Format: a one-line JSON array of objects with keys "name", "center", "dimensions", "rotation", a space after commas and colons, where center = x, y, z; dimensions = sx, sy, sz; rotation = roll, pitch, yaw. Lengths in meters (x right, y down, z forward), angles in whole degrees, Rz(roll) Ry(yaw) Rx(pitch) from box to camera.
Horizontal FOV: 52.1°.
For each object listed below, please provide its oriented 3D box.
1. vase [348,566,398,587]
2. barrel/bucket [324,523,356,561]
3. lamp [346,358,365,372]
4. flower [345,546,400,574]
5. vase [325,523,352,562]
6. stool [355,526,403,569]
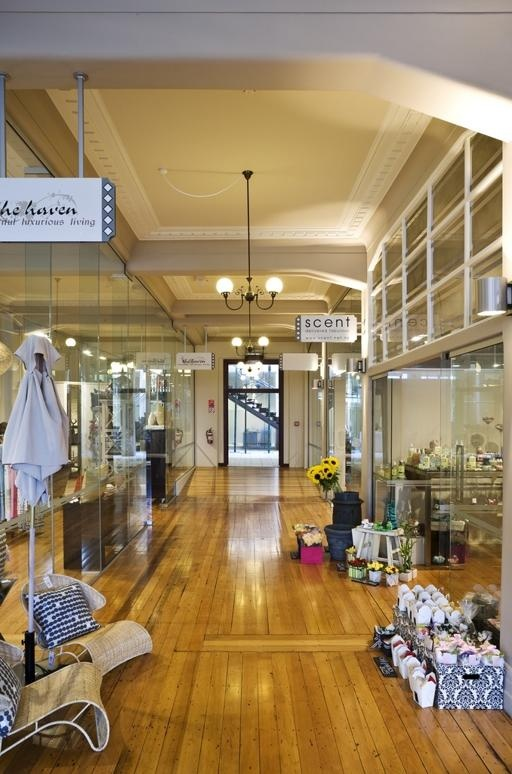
[{"name": "vase", "center": [1.101, 1.790, 4.974], "dimensions": [0.258, 0.095, 0.202], "rotation": [-2, -5, 33]}, {"name": "barrel/bucket", "center": [0.902, 1.685, 5.729], "dimensions": [0.308, 0.319, 0.328], "rotation": [0, -6, 0]}, {"name": "lamp", "center": [1.354, -0.296, 7.069], "dimensions": [0.181, 0.157, 0.148], "rotation": [1, -1, 22]}, {"name": "flower", "center": [1.162, 1.732, 5.235], "dimensions": [0.232, 0.141, 0.389], "rotation": [4, -3, 4]}, {"name": "vase", "center": [0.893, 1.674, 5.646], "dimensions": [0.309, 0.375, 0.327], "rotation": [-4, -7, 29]}, {"name": "stool", "center": [1.259, 1.614, 5.443], "dimensions": [0.396, 0.437, 0.400], "rotation": [-1, -6, 24]}]
